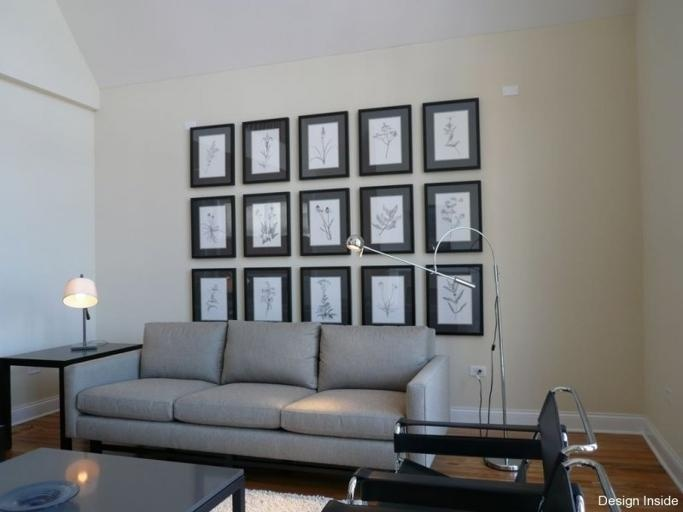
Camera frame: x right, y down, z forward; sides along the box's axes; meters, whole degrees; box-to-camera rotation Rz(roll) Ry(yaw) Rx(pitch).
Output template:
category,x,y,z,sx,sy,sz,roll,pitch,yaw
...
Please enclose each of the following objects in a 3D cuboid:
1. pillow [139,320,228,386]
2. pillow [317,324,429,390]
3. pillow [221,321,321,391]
category,x,y,z,sx,sy,sz,roll,pitch,yaw
pillow,-1.438,0.848,4.889,0.760,0.531,0.282,-1,-6,5
pillow,0.261,0.889,4.527,0.972,0.628,0.351,0,-19,12
pillow,-0.605,0.840,4.680,0.829,0.579,0.309,2,-3,-2
